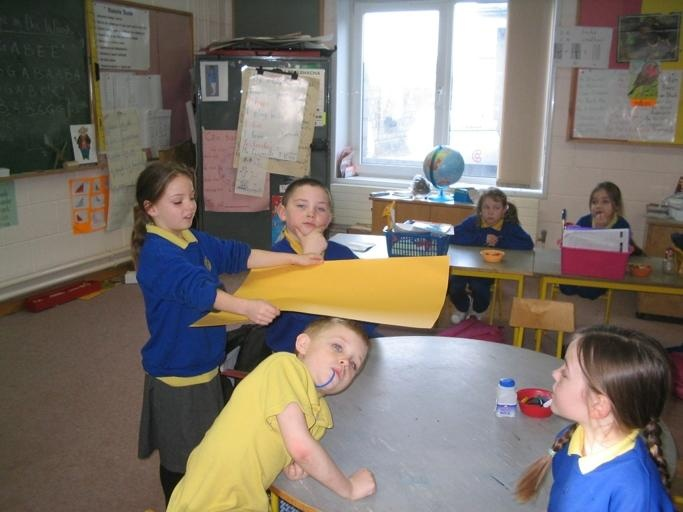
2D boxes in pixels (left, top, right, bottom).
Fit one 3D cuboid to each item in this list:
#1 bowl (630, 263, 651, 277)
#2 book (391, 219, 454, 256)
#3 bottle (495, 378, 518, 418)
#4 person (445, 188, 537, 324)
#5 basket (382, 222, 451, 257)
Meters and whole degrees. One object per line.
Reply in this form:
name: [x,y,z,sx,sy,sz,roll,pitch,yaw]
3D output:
bowl: [1.761,0.082,3.143,0.112,0.048,0.154,10,17,31]
book: [0.470,-0.106,3.256,0.282,0.119,0.228,2,9,12]
bottle: [0.541,0.471,1.728,0.073,0.109,0.073,5,-15,1]
person: [1.038,0.038,3.973,0.604,1.023,0.588,15,14,36]
basket: [0.467,-0.096,3.254,0.284,0.130,0.230,0,8,13]
